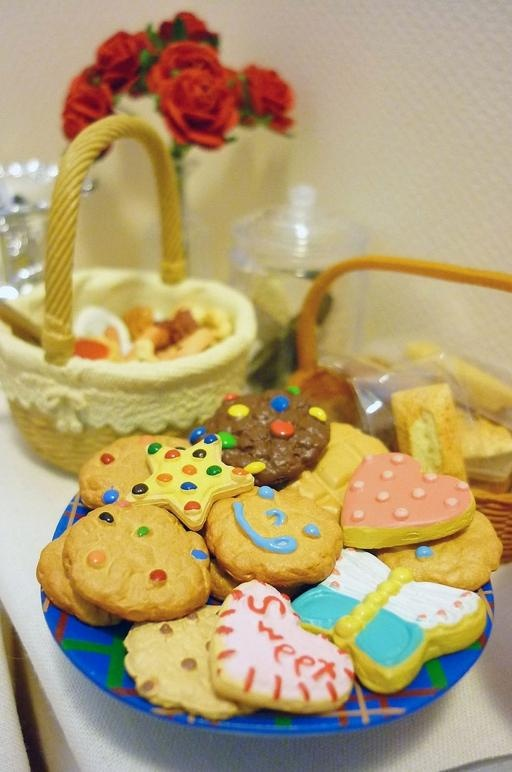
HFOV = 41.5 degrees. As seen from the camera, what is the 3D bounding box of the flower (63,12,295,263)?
[{"bbox_3d":[-0.119,-0.367,0.978,0.338,0.279,0.275,-2,-11,-15],"label":"flower"}]
